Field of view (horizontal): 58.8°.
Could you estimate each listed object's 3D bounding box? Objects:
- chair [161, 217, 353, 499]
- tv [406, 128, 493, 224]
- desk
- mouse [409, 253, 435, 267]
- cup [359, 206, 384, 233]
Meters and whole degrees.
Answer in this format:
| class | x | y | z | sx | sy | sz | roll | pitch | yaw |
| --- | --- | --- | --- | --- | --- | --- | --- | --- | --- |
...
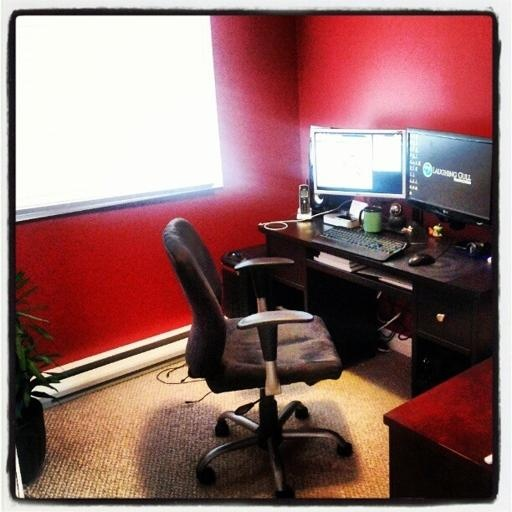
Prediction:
| class | x | y | z | sx | sy | sz | roll | pitch | yaw |
| --- | --- | --- | --- | --- | --- | --- | --- | --- | --- |
| chair | 0.028 | 0.359 | 1.778 | 0.619 | 1.011 | 0.622 | -7 | 16 | -13 |
| tv | 0.824 | -0.353 | 1.922 | 0.058 | 0.315 | 0.465 | -9 | 17 | -18 |
| desk | 0.460 | 0.308 | 2.114 | 0.903 | 0.663 | 0.339 | 17 | 11 | 24 |
| mouse | 0.678 | 0.014 | 1.885 | 0.090 | 0.033 | 0.054 | -9 | 15 | -25 |
| cup | 0.573 | -0.180 | 2.268 | 0.083 | 0.155 | 0.137 | -5 | 13 | -13 |
